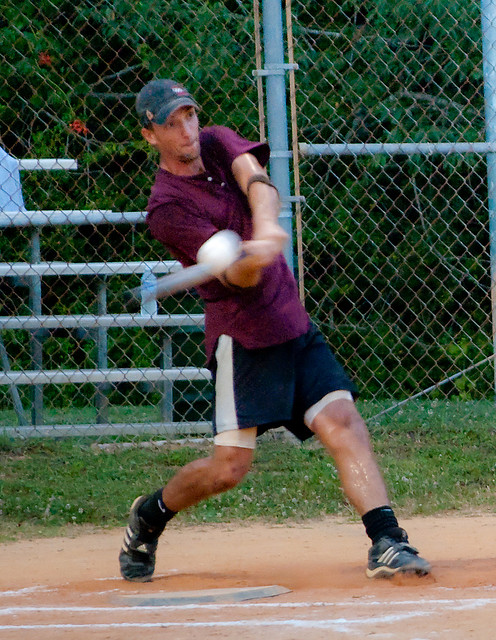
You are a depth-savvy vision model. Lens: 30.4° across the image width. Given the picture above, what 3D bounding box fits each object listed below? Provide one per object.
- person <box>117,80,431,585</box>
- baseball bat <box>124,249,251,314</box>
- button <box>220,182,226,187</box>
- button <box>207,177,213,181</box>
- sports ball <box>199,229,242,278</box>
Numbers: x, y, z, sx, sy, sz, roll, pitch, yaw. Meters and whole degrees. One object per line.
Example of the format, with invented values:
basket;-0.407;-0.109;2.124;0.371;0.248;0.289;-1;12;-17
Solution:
person;-0.026;0.051;3.160;0.959;1.826;0.794;-4;9;-9
baseball bat;-0.254;-0.109;2.812;0.207;0.129;0.351;-5;7;-26
button;-0.092;-0.477;3.225;0.021;0.015;0.005;-6;9;-29
button;-0.136;-0.495;3.210;0.019;0.014;0.004;-10;14;-10
sports ball;-0.085;-0.200;2.807;0.133;0.104;0.186;-5;-10;-19
